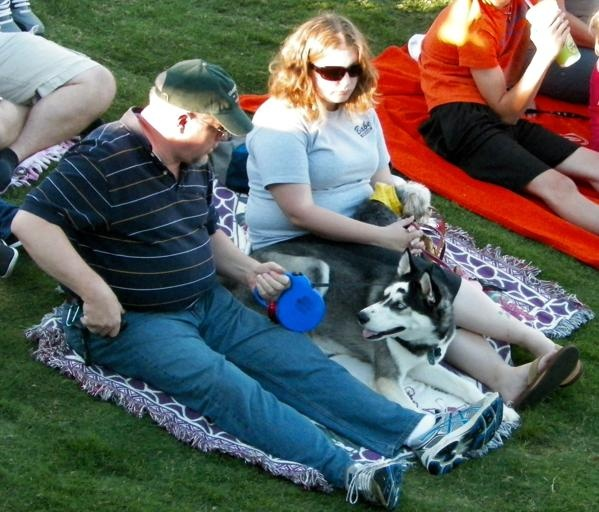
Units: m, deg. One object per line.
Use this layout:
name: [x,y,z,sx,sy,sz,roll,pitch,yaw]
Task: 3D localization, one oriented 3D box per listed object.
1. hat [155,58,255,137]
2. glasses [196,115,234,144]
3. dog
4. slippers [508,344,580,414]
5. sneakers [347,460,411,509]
hat: [-0.424,-0.739,2.996,0.536,0.231,0.334,17,25,0]
glasses: [-0.379,-0.560,2.913,0.119,0.032,0.093,43,5,32]
dog: [0.407,0.316,3.453,0.600,0.575,1.376,-8,26,-39]
slippers: [1.237,0.633,3.487,0.271,0.171,0.738,44,19,10]
sneakers: [0.318,0.946,2.752,0.242,0.191,0.180,19,30,3]
